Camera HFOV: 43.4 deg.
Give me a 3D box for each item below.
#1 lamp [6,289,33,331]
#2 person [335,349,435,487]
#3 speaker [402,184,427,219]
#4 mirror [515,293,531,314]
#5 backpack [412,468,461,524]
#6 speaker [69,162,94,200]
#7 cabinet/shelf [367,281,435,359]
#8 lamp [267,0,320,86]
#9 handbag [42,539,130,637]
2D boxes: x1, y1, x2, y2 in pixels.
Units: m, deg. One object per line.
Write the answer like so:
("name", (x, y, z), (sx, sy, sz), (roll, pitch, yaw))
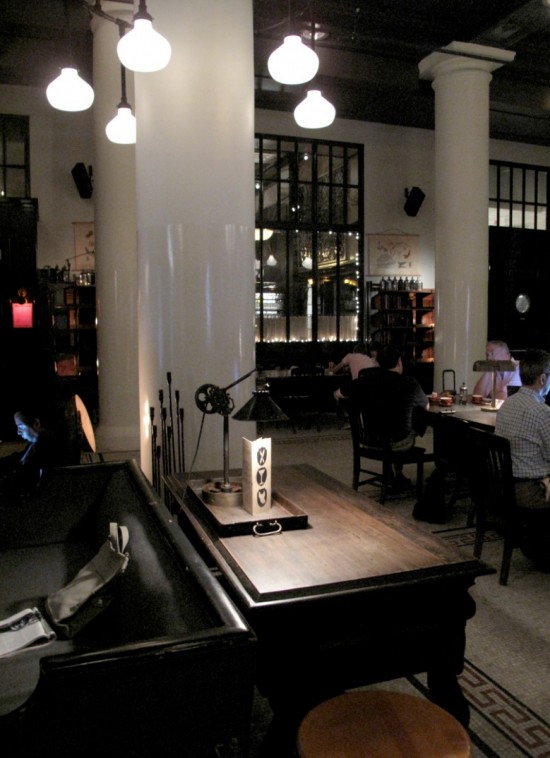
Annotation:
("lamp", (-2.798, -0.747, 7.638), (0.246, 0.434, 0.222), (-4, 6, -23))
("person", (0.875, 0.294, 5.467), (0.608, 1.259, 0.620), (-9, 15, -35))
("speaker", (2.355, -3.011, 11.837), (0.334, 0.529, 0.150), (0, 11, -27))
("mirror", (4.449, -1.311, 12.495), (0.289, 0.346, 0.322), (0, -4, -10))
("backpack", (1.143, 0.860, 4.848), (0.268, 0.525, 0.115), (19, 3, 30))
("speaker", (-2.657, -2.731, 9.490), (0.280, 0.495, 0.528), (-3, 6, -18))
("cabinet/shelf", (2.022, -0.934, 11.150), (1.166, 1.363, 0.382), (0, -1, -8))
("lamp", (0.077, -1.660, 3.510), (0.256, 0.314, 0.204), (4, 7, 40))
("handbag", (-0.623, 0.695, 2.271), (0.112, 0.314, 0.250), (40, -3, -19))
